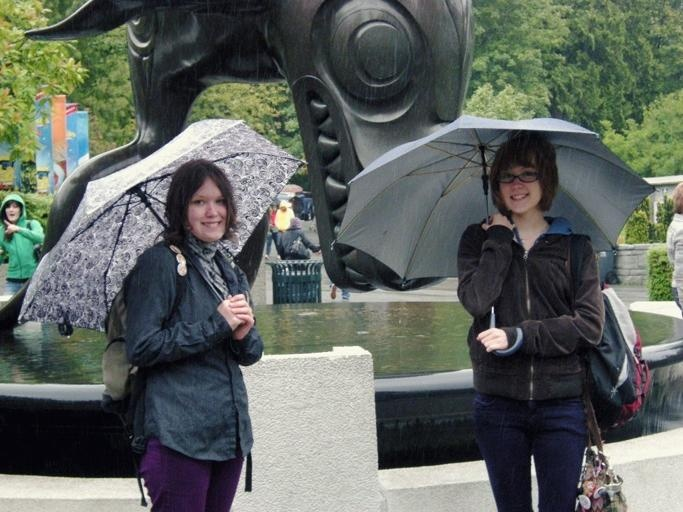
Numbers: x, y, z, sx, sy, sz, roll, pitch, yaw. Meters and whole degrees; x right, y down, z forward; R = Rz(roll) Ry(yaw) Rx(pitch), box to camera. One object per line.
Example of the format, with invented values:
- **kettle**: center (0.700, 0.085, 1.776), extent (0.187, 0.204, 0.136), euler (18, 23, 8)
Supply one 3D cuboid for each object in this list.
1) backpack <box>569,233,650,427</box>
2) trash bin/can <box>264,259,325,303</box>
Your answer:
- **backpack**: center (1.429, 0.522, 4.202), extent (0.204, 0.551, 0.460), euler (-4, -3, 38)
- **trash bin/can**: center (-0.631, 0.376, 11.066), extent (0.589, 0.518, 0.587), euler (-1, -2, 33)
